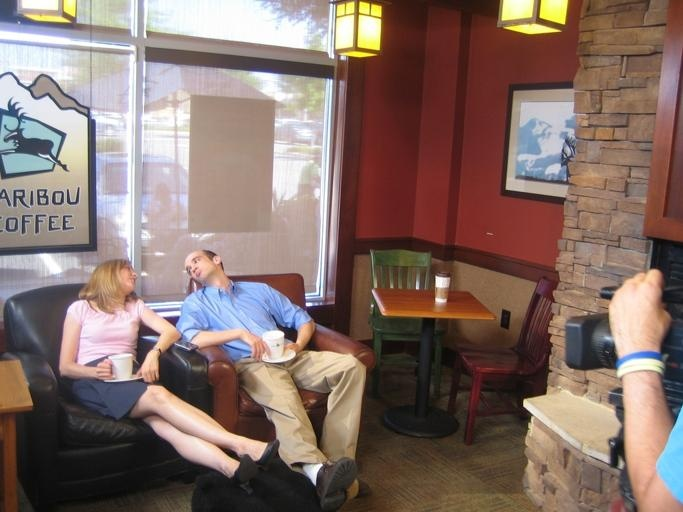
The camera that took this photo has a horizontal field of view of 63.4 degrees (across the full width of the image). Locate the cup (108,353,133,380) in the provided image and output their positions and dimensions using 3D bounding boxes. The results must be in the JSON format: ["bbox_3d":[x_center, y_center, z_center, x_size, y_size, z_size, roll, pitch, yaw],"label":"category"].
[{"bbox_3d":[-1.150,0.586,2.909,0.145,0.111,0.096,-1,1,29],"label":"cup"}]

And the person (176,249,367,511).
[{"bbox_3d":[-0.357,0.633,3.381,0.798,0.850,1.745,-1,20,-41],"label":"person"}]

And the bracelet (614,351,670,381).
[{"bbox_3d":[0.687,0.244,1.251,0.074,0.035,0.077,0,-15,14],"label":"bracelet"}]

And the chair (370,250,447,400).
[{"bbox_3d":[0.510,0.532,4.540,0.649,1.124,0.762,0,5,-14],"label":"chair"}]

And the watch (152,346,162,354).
[{"bbox_3d":[-1.043,0.534,3.132,0.047,0.046,0.032,3,14,-5],"label":"watch"}]

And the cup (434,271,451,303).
[{"bbox_3d":[0.706,0.204,3.857,0.100,0.185,0.301,4,12,9],"label":"cup"}]

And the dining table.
[{"bbox_3d":[0.561,0.716,4.050,0.919,0.934,0.932,0,10,-11],"label":"dining table"}]

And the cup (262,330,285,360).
[{"bbox_3d":[-0.390,0.513,3.244,0.145,0.168,0.146,0,4,0],"label":"cup"}]

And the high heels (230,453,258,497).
[{"bbox_3d":[-0.467,1.051,2.590,0.070,0.227,0.084,-11,14,25],"label":"high heels"}]

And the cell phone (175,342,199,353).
[{"bbox_3d":[-0.897,0.520,3.184,0.106,0.022,0.059,17,8,2],"label":"cell phone"}]

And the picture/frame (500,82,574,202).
[{"bbox_3d":[1.548,-0.873,4.231,0.805,0.832,0.037,-7,13,-26],"label":"picture/frame"}]
